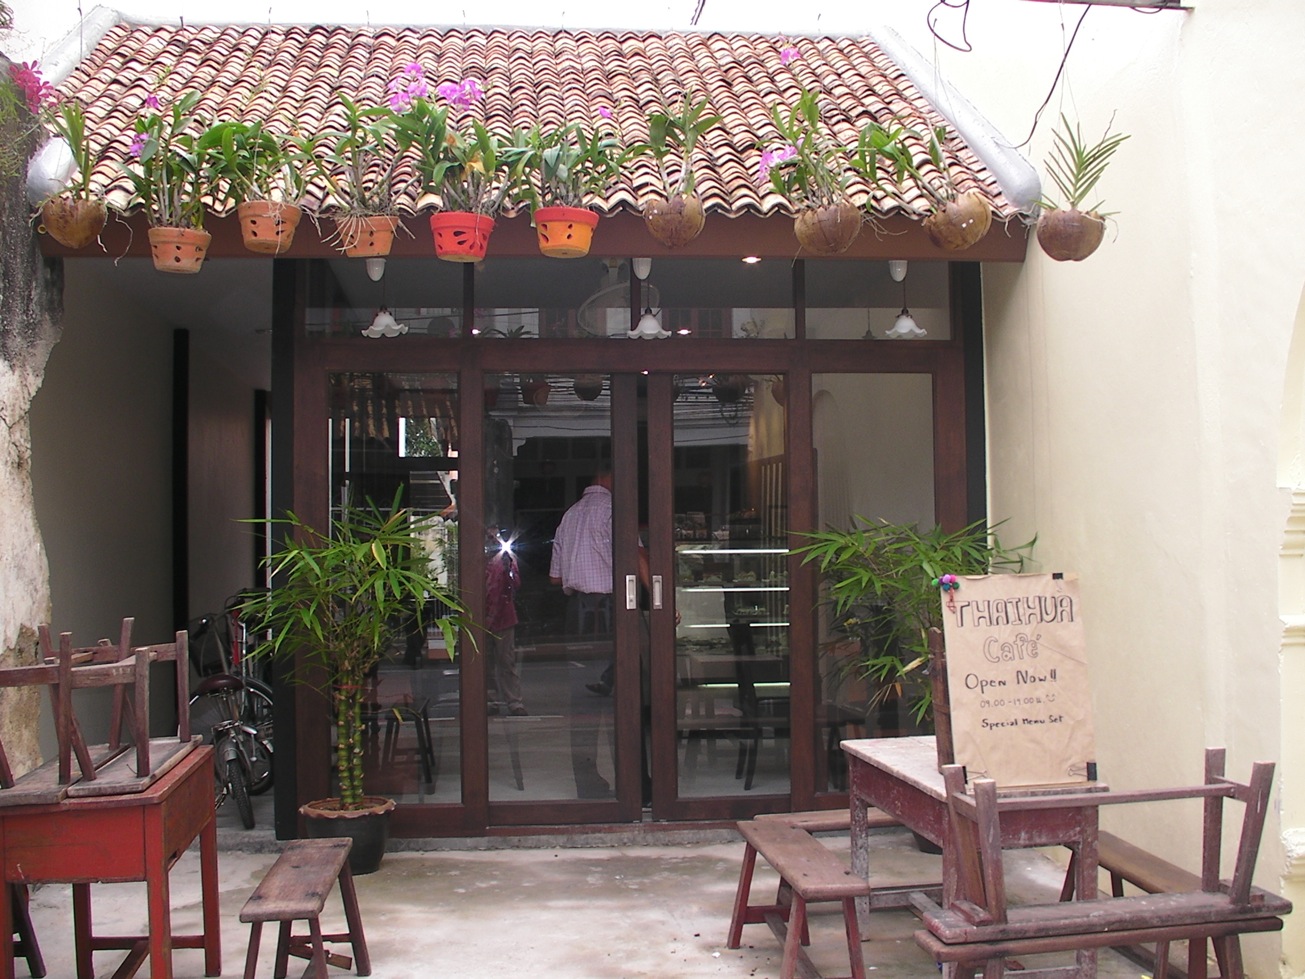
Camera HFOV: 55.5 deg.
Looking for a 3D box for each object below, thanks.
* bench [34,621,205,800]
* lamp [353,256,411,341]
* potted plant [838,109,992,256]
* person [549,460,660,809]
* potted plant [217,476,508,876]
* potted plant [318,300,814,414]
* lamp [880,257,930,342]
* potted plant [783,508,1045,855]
[{"bbox_3d":[-2.274,0.704,5.236,0.549,0.760,0.998,0,-2,-5],"label":"bench"},{"bbox_3d":[-1.460,-1.037,6.803,0.333,0.532,0.335,0,0,33],"label":"lamp"},{"bbox_3d":[1.359,-1.531,6.183,0.666,0.679,1.287,1,6,16],"label":"potted plant"},{"bbox_3d":[-0.385,0.814,6.954,0.366,1.815,0.221,-1,5,-4],"label":"person"},{"bbox_3d":[-1.548,1.002,6.514,1.151,1.904,0.957,-2,5,-11],"label":"potted plant"},{"bbox_3d":[-0.631,-0.631,6.690,3.074,0.464,0.272,0,3,-5],"label":"potted plant"},{"bbox_3d":[1.466,-1.075,7.102,0.245,0.429,0.078,-3,6,-27],"label":"lamp"},{"bbox_3d":[1.612,0.762,7.015,1.459,1.979,1.767,-2,3,-17],"label":"potted plant"}]
